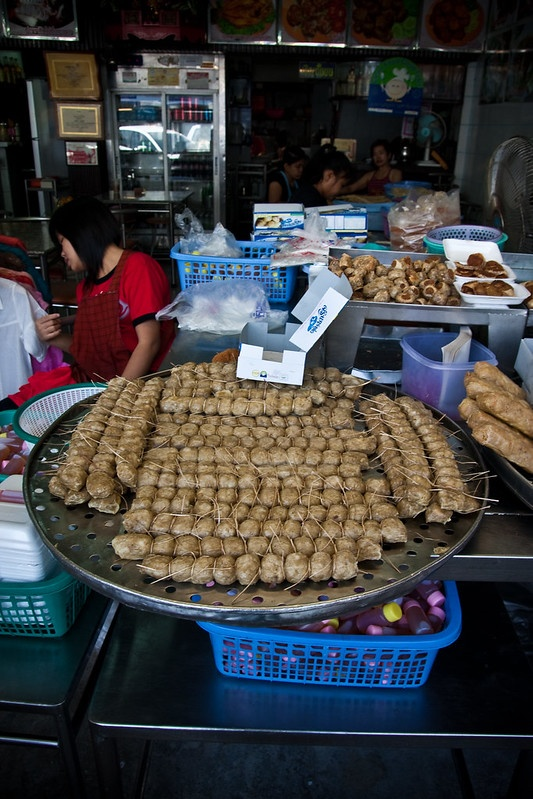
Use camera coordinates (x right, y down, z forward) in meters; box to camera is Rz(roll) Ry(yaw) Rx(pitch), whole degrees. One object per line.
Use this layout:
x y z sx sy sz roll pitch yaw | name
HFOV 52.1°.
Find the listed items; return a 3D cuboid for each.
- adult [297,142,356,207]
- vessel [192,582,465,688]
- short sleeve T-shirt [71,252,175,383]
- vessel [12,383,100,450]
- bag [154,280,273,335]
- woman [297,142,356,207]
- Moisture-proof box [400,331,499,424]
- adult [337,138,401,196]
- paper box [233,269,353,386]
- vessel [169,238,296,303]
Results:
0.422 -1.688 4.128 0.389 0.394 0.922 3 26 6 | adult
0.118 0.429 0.920 0.344 0.098 0.238 0 19 2 | vessel
-0.678 -0.395 2.478 0.579 0.543 0.326 16 23 39 | short sleeve T-shirt
-0.613 0.022 1.583 0.187 0.075 0.180 -14 5 -20 | vessel
-0.196 -0.349 2.032 0.342 0.126 0.246 -2 14 4 | bag
0.421 -1.685 4.122 0.389 0.394 0.908 3 26 6 | woman
0.424 -0.048 1.382 0.216 0.158 0.249 7 19 -1 | Moisture-proof box
1.111 -2.332 5.838 0.624 0.806 0.523 1 23 12 | adult
0.055 -0.174 1.254 0.259 0.235 0.152 -2 33 -2 | paper box
-0.119 -0.566 2.433 0.593 0.222 0.409 6 14 40 | vessel
